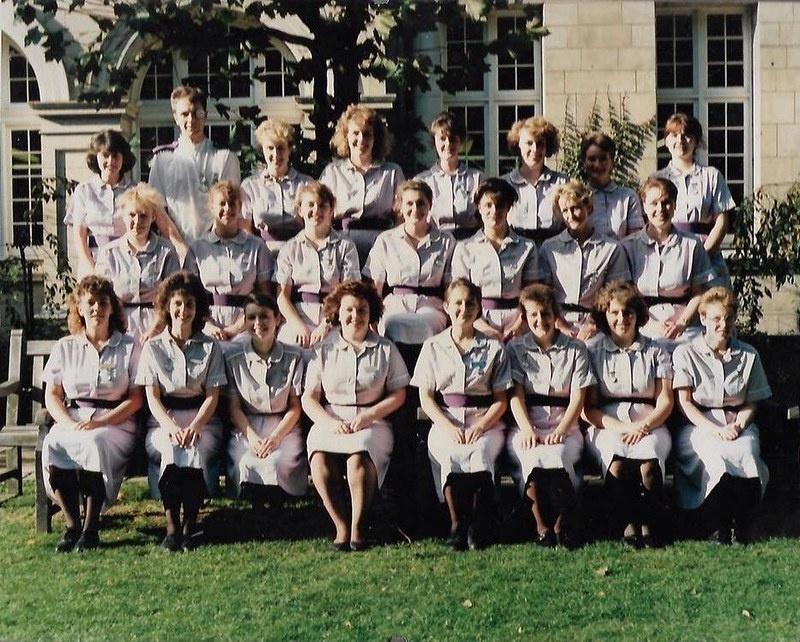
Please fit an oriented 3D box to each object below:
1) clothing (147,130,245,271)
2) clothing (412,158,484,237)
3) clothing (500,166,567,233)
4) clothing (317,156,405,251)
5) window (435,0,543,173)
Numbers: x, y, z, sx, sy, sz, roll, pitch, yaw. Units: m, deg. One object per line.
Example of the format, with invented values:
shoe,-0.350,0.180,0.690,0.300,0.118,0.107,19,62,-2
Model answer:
clothing,-1.082,-0.700,10.019,0.413,0.650,0.228,1,41,-3
clothing,0.259,-0.630,9.877,0.317,0.390,0.203,-1,4,-5
clothing,0.666,-0.588,9.843,0.393,0.462,0.232,0,0,3
clothing,-0.206,-0.545,9.863,0.405,0.611,0.203,4,-6,-1
window,0.456,-1.129,9.631,0.489,1.047,0.029,0,41,3
